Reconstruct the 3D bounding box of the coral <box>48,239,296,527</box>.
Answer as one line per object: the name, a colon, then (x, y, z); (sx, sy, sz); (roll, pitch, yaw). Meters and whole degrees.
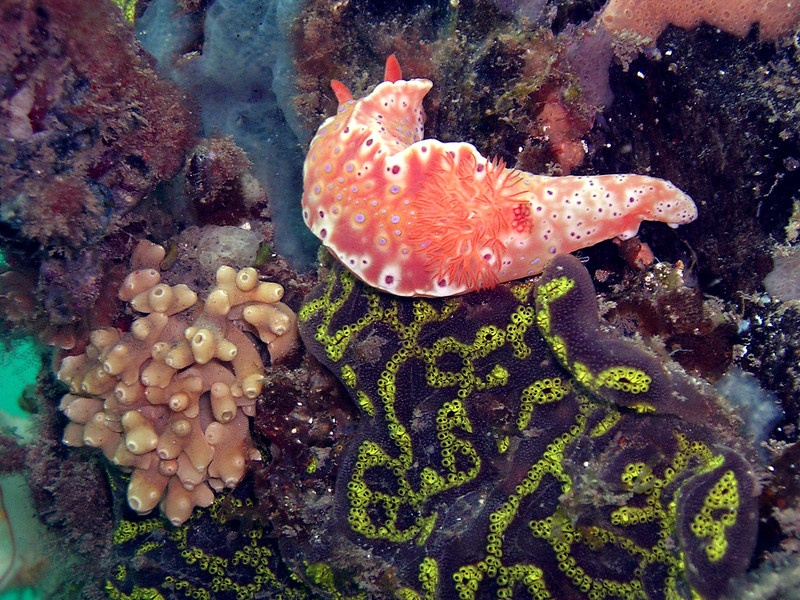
coral: (-1.497, 0.600, 5.923); (1.520, 0.785, 1.987); (2, 90, -3)
